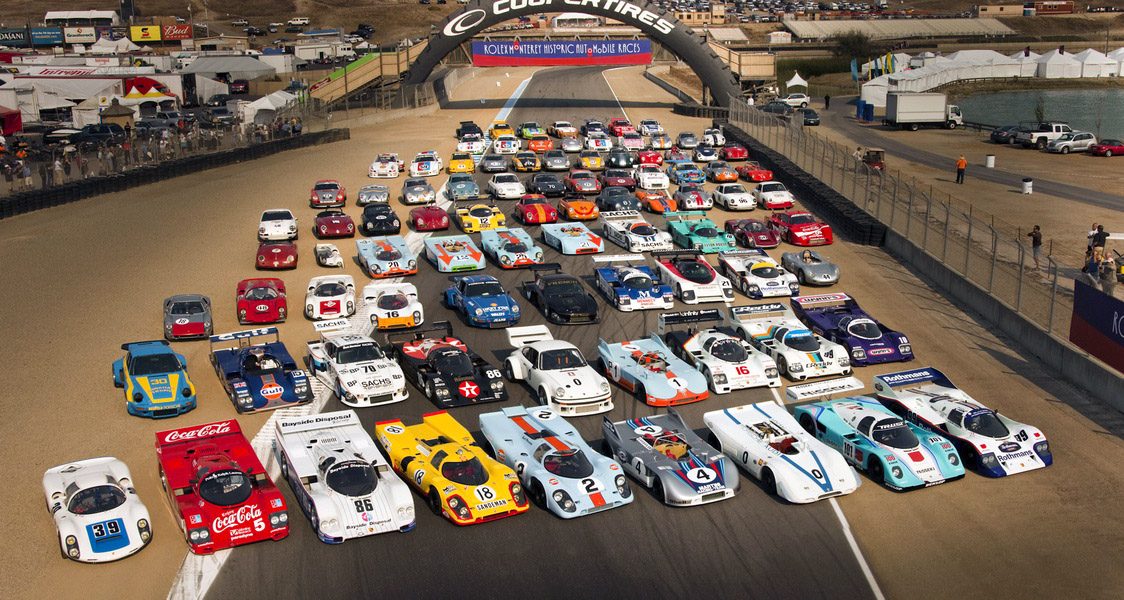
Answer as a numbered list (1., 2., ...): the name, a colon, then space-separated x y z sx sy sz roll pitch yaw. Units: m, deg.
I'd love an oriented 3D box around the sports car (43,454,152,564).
1. sports car: -21.364 9.178 34.056 3.583 1.481 6.395 -6 30 -40
